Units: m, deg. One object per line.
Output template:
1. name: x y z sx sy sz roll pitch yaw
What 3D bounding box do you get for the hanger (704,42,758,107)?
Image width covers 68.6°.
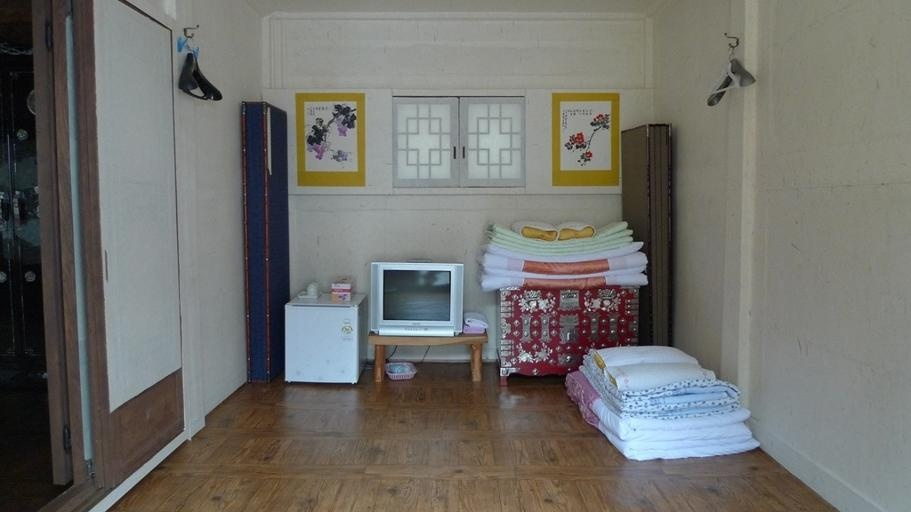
1. hanger: 2.416 -1.661 5.897 0.228 0.601 0.472 -4 7 -15

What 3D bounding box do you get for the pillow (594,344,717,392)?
1. pillow: 1.728 0.966 5.880 0.530 0.107 0.536 -5 10 -4

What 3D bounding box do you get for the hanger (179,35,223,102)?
1. hanger: -2.254 -1.706 5.924 0.279 0.612 0.498 -3 7 -5

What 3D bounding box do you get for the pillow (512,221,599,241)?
1. pillow: 1.016 -0.265 6.879 0.818 0.190 0.211 -2 7 3

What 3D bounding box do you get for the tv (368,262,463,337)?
1. tv: -0.511 0.484 7.123 1.098 0.766 0.577 3 -5 -26

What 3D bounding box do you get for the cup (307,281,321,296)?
1. cup: -1.513 0.343 7.044 0.118 0.144 0.159 3 -4 5
